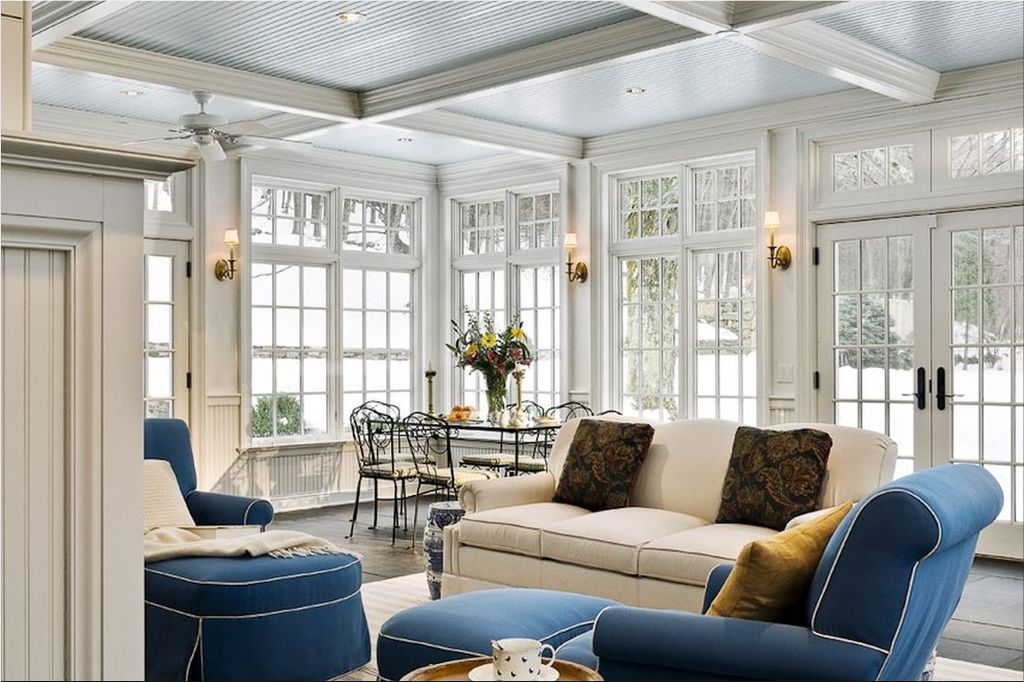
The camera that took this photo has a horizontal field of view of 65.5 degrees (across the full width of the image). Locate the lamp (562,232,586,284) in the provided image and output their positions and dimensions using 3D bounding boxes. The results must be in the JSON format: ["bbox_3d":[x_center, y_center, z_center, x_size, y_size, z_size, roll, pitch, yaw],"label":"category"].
[{"bbox_3d":[0.649,-0.839,8.156,0.241,0.506,0.146,1,-1,2],"label":"lamp"}]

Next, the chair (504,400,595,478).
[{"bbox_3d":[0.226,0.933,7.628,0.761,1.031,0.686,9,-10,-42],"label":"chair"}]

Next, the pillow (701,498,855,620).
[{"bbox_3d":[0.920,0.856,2.837,0.605,0.501,0.302,-10,15,-43],"label":"pillow"}]

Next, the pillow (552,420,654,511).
[{"bbox_3d":[0.619,0.804,5.122,0.636,0.626,0.283,-4,-30,43],"label":"pillow"}]

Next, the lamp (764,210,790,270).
[{"bbox_3d":[2.291,-0.852,6.862,0.218,0.501,0.135,1,-1,17],"label":"lamp"}]

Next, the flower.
[{"bbox_3d":[-0.179,0.258,7.275,0.664,0.973,0.613,3,-10,-20],"label":"flower"}]

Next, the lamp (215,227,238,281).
[{"bbox_3d":[-2.774,-0.820,7.703,0.193,0.358,0.156,1,-1,0],"label":"lamp"}]

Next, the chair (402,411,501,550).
[{"bbox_3d":[-0.559,1.210,7.133,0.601,1.102,0.725,1,0,40],"label":"chair"}]

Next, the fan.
[{"bbox_3d":[-2.069,-1.480,5.312,0.800,0.309,0.776,12,28,9],"label":"fan"}]

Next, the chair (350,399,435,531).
[{"bbox_3d":[-1.180,1.188,7.302,0.630,0.864,0.555,7,-7,-37],"label":"chair"}]
